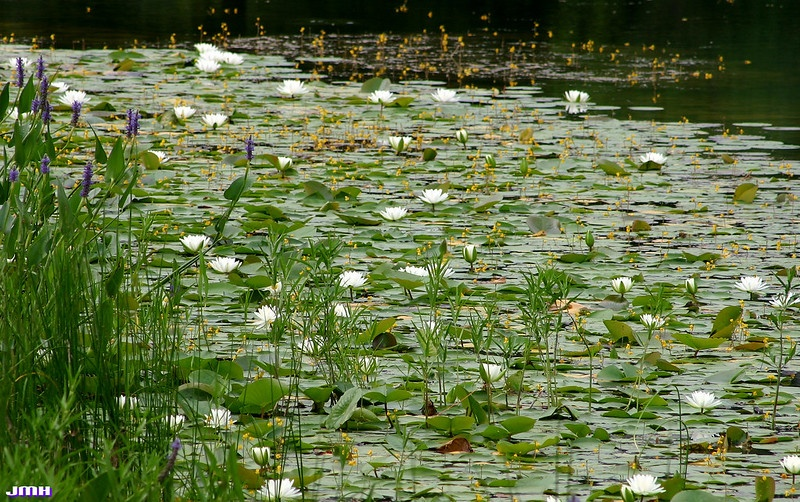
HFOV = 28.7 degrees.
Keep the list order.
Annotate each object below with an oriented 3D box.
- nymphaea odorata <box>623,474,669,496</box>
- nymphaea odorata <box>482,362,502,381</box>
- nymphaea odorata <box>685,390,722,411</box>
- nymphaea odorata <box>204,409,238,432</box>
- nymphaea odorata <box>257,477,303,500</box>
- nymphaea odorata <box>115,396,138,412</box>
[{"bbox_3d":[1.338,1.260,8.606,0.227,0.114,0.191,4,4,3],"label":"nymphaea odorata"},{"bbox_3d":[0.521,0.687,9.113,0.120,0.052,0.101,2,9,14],"label":"nymphaea odorata"},{"bbox_3d":[1.748,0.853,9.065,0.205,0.112,0.206,4,4,10],"label":"nymphaea odorata"},{"bbox_3d":[-1.025,0.936,8.790,0.158,0.072,0.137,0,4,-19],"label":"nymphaea odorata"},{"bbox_3d":[-0.659,1.277,8.538,0.221,0.120,0.195,2,4,-16],"label":"nymphaea odorata"},{"bbox_3d":[-1.517,0.819,8.603,0.115,0.095,0.108,5,3,4],"label":"nymphaea odorata"}]
